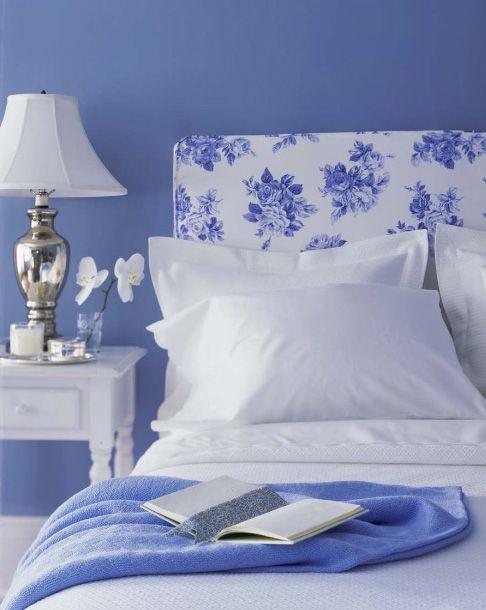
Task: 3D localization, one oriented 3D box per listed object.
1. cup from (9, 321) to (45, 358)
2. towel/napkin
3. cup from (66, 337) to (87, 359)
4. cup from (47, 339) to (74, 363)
[{"bbox_3d":[-0.584,0.097,2.114,0.108,0.091,0.097,0,-1,-6],"label":"cup"},{"bbox_3d":[0.003,0.333,1.092,0.493,0.104,0.290,1,0,2],"label":"towel/napkin"},{"bbox_3d":[-0.444,0.123,2.070,0.055,0.041,0.048,1,4,13],"label":"cup"},{"bbox_3d":[-0.482,0.124,2.030,0.068,0.051,0.059,0,-1,-5],"label":"cup"}]
